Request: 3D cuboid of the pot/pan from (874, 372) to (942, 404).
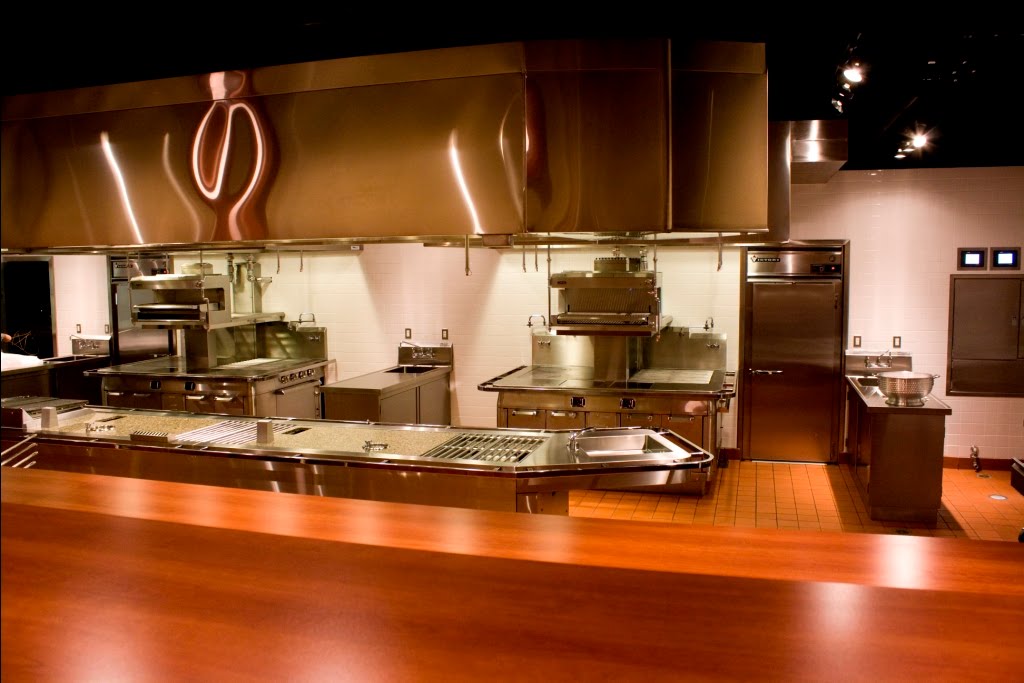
[{"bbox_3d":[3.185,0.360,5.957,0.417,0.236,0.326,-7,11,-41],"label":"pot/pan"}]
